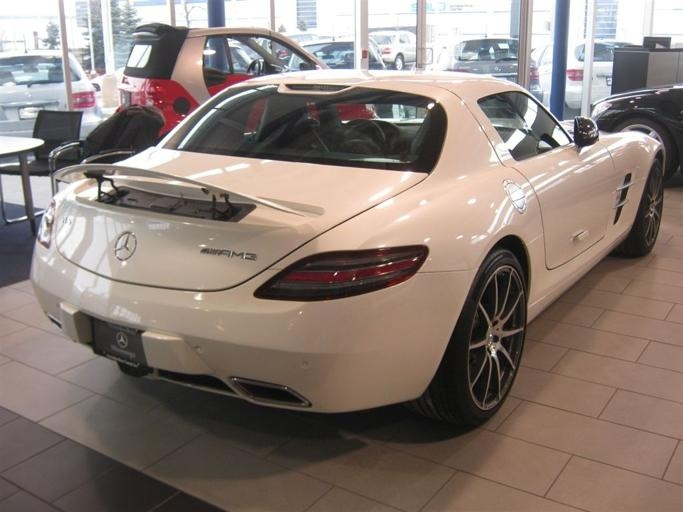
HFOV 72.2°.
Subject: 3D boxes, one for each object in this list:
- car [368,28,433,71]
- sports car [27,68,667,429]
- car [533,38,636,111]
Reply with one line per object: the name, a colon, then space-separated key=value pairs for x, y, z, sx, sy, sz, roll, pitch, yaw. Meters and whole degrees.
car: x=1.137 y=-4.495 z=10.257 sx=1.960 sy=0.710 sz=0.896 roll=-15 pitch=22 yaw=-37
sports car: x=0.461 y=-0.160 z=2.473 sx=1.541 sy=0.907 sz=3.043 roll=12 pitch=25 yaw=37
car: x=6.119 y=-5.234 z=13.401 sx=4.235 sy=1.852 sz=1.984 roll=-16 pitch=22 yaw=-32
